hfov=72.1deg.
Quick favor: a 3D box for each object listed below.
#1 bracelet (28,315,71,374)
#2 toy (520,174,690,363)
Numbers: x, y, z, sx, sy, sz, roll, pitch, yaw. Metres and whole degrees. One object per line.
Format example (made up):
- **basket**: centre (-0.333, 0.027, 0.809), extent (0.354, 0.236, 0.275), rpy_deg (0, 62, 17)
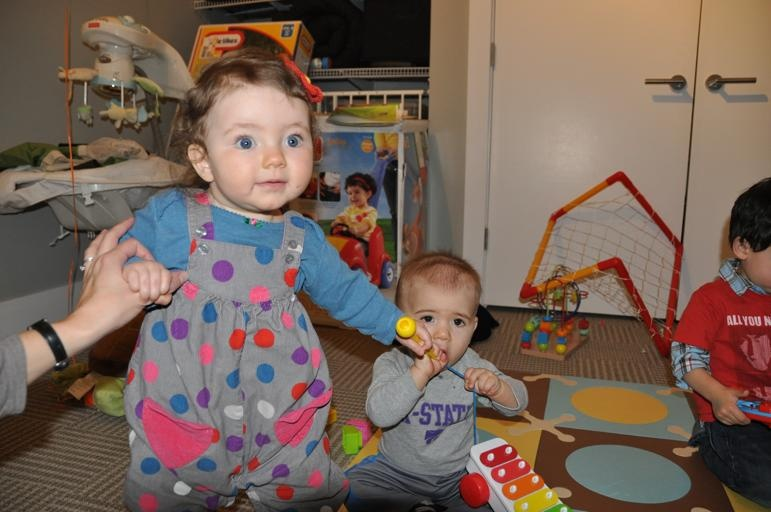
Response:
- **bracelet**: centre (-0.685, 0.182, 1.071), extent (0.082, 0.106, 0.042), rpy_deg (13, 20, 33)
- **toy**: centre (1.127, 0.018, 2.621), extent (0.852, 0.824, 0.677), rpy_deg (4, 17, 9)
